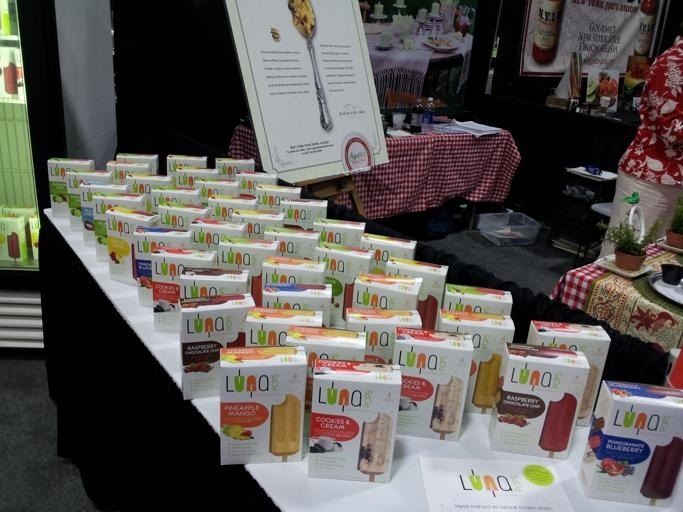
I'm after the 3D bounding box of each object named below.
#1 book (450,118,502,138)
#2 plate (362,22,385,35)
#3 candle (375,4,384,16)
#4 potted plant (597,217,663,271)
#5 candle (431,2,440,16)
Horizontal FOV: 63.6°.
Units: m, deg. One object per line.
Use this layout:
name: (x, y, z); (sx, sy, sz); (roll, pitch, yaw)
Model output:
book: (1.253, -1.229, 5.268); (0.301, 0.096, 0.311); (3, 27, -23)
plate: (0.296, -2.192, 5.287); (0.214, 0.113, 0.039); (-16, 29, -30)
candle: (0.344, -2.349, 5.249); (0.108, 0.126, 0.022); (-14, 28, -28)
potted plant: (1.466, -0.071, 2.867); (0.290, 0.297, 0.266); (2, 10, 2)
candle: (0.937, -2.510, 5.593); (0.030, 0.137, 0.131); (22, 33, 40)
